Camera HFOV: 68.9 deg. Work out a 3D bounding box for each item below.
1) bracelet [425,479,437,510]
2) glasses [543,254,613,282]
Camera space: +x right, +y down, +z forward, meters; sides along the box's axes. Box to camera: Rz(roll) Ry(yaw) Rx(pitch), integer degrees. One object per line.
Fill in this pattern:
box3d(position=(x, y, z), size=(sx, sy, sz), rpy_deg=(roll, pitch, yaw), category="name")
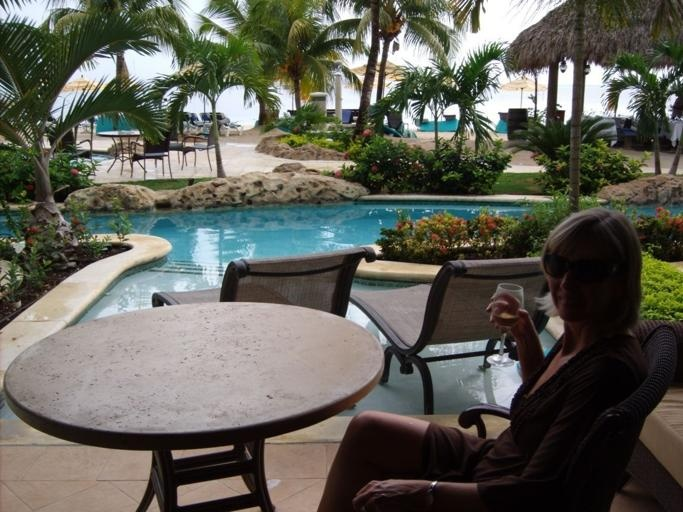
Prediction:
box3d(position=(0.245, 0.642, 1.339), size=(0.024, 0.058, 0.036), rpy_deg=(5, 14, 17), category="bracelet")
box3d(position=(0.683, 0.037, 1.414), size=(0.176, 0.067, 0.039), rpy_deg=(10, 16, 36), category="glasses")
